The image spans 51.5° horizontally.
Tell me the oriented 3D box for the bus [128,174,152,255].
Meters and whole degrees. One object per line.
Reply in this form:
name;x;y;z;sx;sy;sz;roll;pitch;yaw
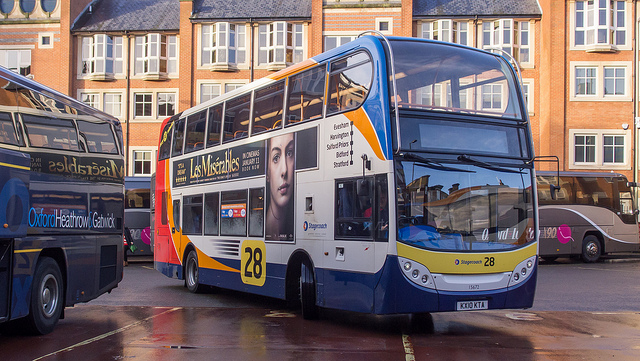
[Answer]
bus;-10.402;2.098;37.638;1.195;4.364;1.140;3;-7;-3

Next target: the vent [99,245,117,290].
vent;-6.558;2.570;20.178;0.087;1.242;0.882;5;5;15
